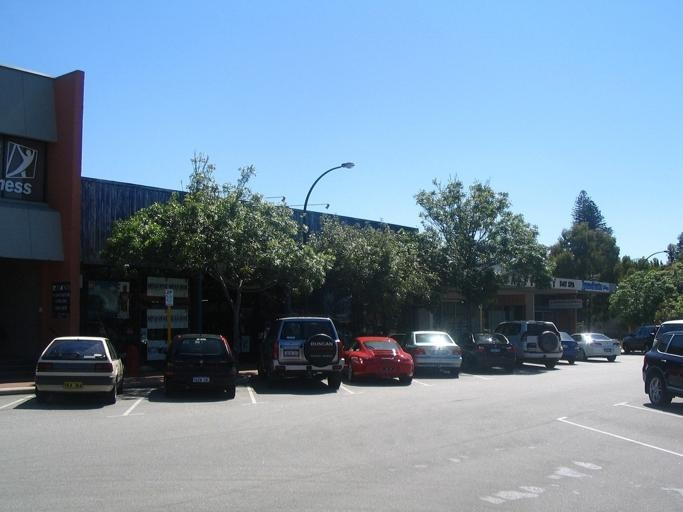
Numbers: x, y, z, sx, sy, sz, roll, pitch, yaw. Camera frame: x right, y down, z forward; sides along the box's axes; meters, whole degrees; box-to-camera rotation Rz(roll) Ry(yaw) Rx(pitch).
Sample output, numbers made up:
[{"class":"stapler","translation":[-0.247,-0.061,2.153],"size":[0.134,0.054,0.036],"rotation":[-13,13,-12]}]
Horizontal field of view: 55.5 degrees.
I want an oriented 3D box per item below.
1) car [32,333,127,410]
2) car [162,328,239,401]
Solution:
[{"class":"car","translation":[-6.762,2.958,16.762],"size":[1.257,1.207,2.307],"rotation":[0,1,-8]},{"class":"car","translation":[-3.934,2.988,17.785],"size":[1.132,1.246,2.293],"rotation":[1,-1,-9]}]
